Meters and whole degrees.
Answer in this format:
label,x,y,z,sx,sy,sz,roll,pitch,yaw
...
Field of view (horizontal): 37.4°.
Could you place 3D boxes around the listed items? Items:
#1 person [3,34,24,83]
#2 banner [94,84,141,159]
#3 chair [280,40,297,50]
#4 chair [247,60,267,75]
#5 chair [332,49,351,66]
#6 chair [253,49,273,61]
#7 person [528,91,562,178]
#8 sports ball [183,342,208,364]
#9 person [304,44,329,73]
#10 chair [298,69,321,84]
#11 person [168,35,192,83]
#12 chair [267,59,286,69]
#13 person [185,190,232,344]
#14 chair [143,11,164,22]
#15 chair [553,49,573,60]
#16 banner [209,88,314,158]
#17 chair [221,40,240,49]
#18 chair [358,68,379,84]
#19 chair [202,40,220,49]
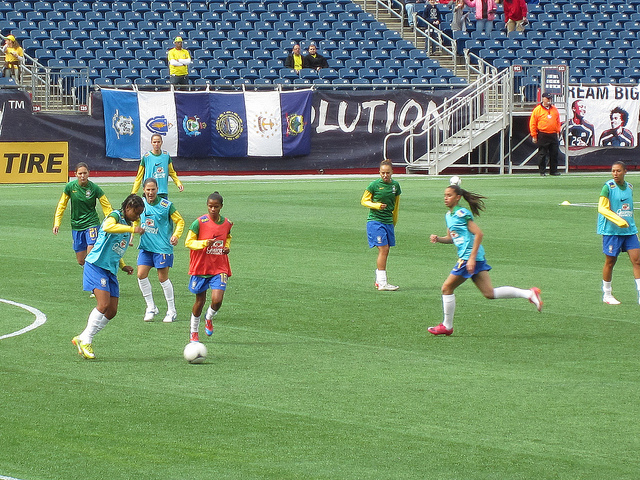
label,x,y,z,sx,sy,sz,roll,pitch,yaw
person,-11.400,-6.783,35.336,0.647,1.679,1.068,0,5,-18
banner,-7.222,-4.266,34.634,1.370,2.524,0.403,1,5,-13
chair,-1.385,-8.492,40.890,0.616,0.493,0.501,0,-1,-14
chair,-2.629,-7.271,39.483,0.793,0.653,0.603,1,5,-12
chair,0.870,-7.950,41.017,0.748,0.853,0.720,-2,3,-23
chair,-2.443,-7.911,40.074,0.830,0.557,0.852,0,5,-18
person,8.446,-3.945,35.625,1.092,3.124,1.447,4,5,18
sports ball,-1.467,1.345,11.280,0.249,0.244,0.243,29,27,-16
person,-0.270,-7.484,38.821,0.773,1.096,1.064,5,6,31
chair,-0.508,-6.797,39.031,0.602,0.702,0.584,0,-1,-9
person,-5.258,-6.757,35.476,0.743,1.569,1.584,1,5,-8
chair,-1.875,-7.427,39.623,0.562,0.324,0.487,-1,6,-22
person,-1.430,0.371,12.108,0.558,1.950,0.962,1,5,-7
chair,-7.120,-9.660,40.622,0.855,0.563,0.709,1,5,-14
chair,11.112,-8.619,43.600,0.797,0.475,0.605,4,0,-21
banner,-2.228,-4.464,36.066,4.144,2.601,0.247,-5,12,-23
chair,-3.838,-8.377,40.340,0.619,0.352,0.430,-1,1,-29
chair,1.962,-7.133,40.298,0.727,0.863,0.706,-2,1,-20
chair,-4.602,-8.332,40.033,0.713,0.452,0.584,1,5,-8
